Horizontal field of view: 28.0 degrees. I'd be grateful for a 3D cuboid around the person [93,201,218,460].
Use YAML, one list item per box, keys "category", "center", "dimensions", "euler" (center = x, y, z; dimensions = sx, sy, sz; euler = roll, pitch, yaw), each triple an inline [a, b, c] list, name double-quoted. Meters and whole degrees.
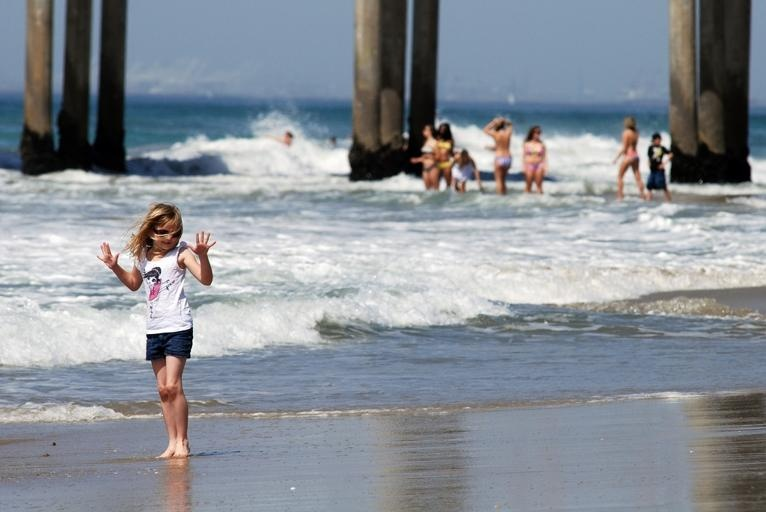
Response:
- category: "person"
  center: [-2.447, 0.837, 17.482]
  dimensions: [1.200, 2.845, 0.570]
  euler: [-1, 7, 17]
